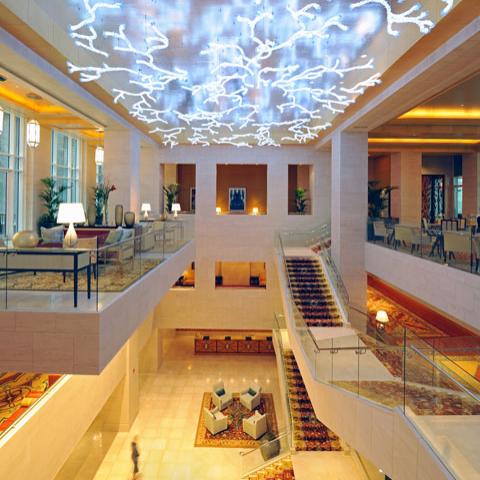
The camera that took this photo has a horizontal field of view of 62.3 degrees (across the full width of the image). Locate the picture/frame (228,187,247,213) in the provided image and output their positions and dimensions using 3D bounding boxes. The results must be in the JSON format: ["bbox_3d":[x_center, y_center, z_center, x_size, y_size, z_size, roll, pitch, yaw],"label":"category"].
[{"bbox_3d":[-0.142,-2.188,20.931,0.935,1.206,0.251,0,3,-10],"label":"picture/frame"}]

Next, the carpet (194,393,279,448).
[{"bbox_3d":[-0.075,5.021,11.339,2.242,0.327,2.778,1,5,-1],"label":"carpet"}]

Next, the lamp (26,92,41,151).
[{"bbox_3d":[-4.734,-2.462,9.028,0.244,0.696,0.887,-1,5,-30],"label":"lamp"}]

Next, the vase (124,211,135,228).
[{"bbox_3d":[-3.003,-0.566,10.785,0.298,0.460,0.349,0,-1,-2],"label":"vase"}]
